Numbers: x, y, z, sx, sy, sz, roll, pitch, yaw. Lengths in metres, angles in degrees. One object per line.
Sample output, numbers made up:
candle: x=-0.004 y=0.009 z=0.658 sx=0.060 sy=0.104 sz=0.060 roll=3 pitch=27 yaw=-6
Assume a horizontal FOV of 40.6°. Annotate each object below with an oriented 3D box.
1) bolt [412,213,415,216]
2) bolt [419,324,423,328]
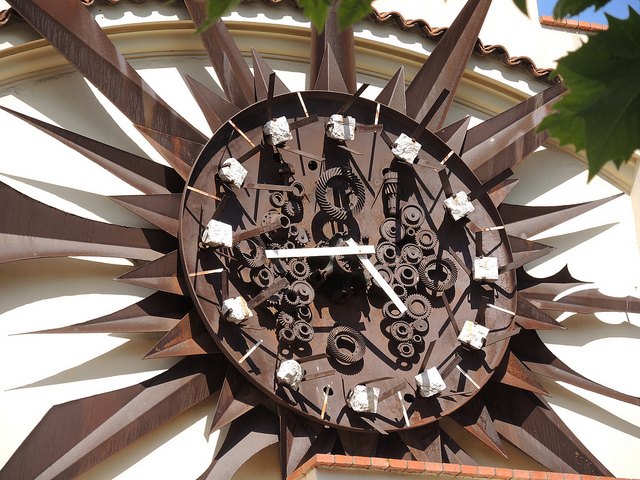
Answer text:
bolt: x=1.593 y=-0.442 z=14.571 sx=0.015 sy=0.046 sz=0.048 roll=162 pitch=102 yaw=-81
bolt: x=1.653 y=1.386 z=14.024 sx=0.015 sy=0.061 sz=0.065 roll=99 pitch=173 yaw=-87
